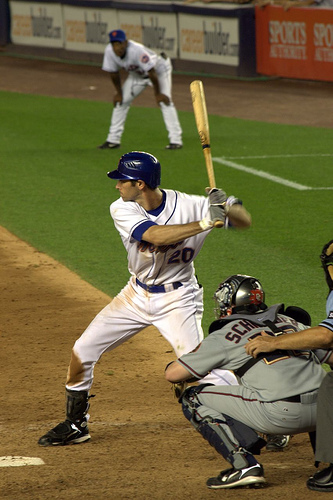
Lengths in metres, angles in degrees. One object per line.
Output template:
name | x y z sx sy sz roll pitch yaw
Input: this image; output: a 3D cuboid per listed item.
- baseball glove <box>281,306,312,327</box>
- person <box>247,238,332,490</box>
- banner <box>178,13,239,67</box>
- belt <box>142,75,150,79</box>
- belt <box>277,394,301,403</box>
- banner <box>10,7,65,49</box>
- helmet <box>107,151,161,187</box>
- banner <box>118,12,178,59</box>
baseball glove | 0.616 0.308 2.875 0.099 0.090 0.106 21 28 -11
person | 0.560 0.495 2.572 0.393 1.058 0.280 6 11 29
banner | 1.264 -6.324 18.479 0.182 2.073 3.462 -23 32 -27
belt | -0.336 -2.918 10.400 0.072 0.043 0.057 -4 44 2
belt | 0.510 0.614 2.525 0.091 0.038 0.009 -1 10 -15
banner | -4.675 -8.110 22.425 0.738 1.606 3.061 -8 11 -43
helmet | -0.150 -0.389 2.964 0.233 0.167 0.209 3 8 15
banner | -0.503 -6.729 19.424 2.496 1.392 0.132 -15 22 -39
